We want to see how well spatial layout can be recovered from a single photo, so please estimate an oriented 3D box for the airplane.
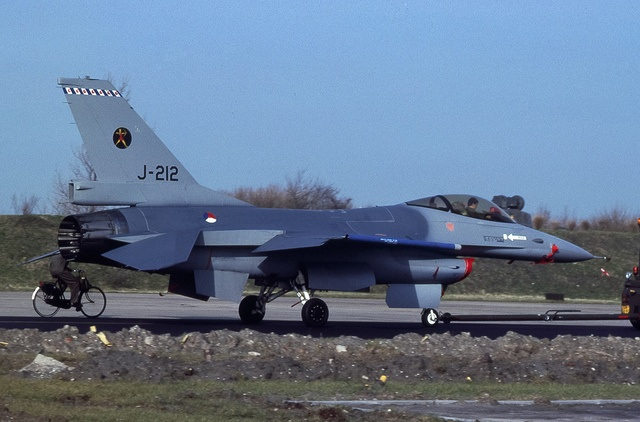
[{"bbox_3d":[-0.174,0.107,26.606,15.319,3.646,10.684,1,0,-23],"label":"airplane"}]
